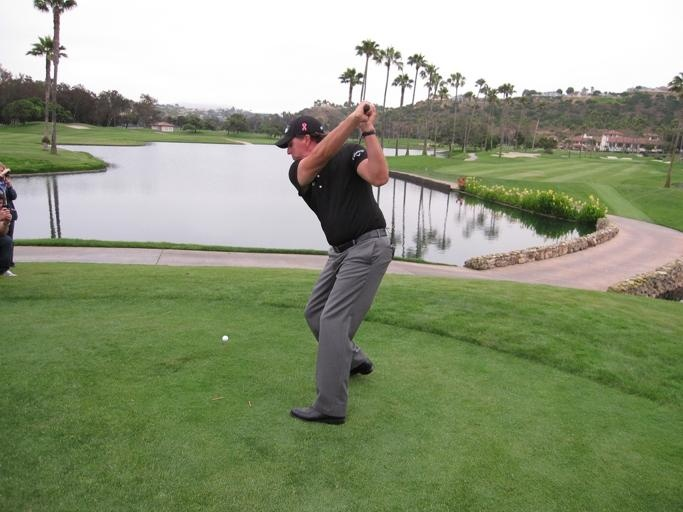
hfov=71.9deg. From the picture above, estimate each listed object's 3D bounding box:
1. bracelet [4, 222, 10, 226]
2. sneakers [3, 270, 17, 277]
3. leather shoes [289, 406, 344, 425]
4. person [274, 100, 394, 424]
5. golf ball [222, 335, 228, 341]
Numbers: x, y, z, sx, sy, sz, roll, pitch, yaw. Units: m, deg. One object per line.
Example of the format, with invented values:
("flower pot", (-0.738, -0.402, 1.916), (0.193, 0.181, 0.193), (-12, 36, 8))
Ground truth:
("bracelet", (-5.867, -0.570, 8.226), (0.056, 0.059, 0.057), (3, -4, -16))
("sneakers", (-5.707, 0.288, 8.098), (0.311, 0.130, 0.107), (5, 3, 31))
("leather shoes", (-0.203, 1.346, 4.009), (0.427, 0.177, 0.171), (8, -8, 11))
("person", (-0.031, 0.035, 4.110), (0.949, 2.682, 0.669), (3, 7, 6))
("golf ball", (-1.308, 0.928, 5.312), (0.051, 0.030, 0.051), (11, 10, -2))
